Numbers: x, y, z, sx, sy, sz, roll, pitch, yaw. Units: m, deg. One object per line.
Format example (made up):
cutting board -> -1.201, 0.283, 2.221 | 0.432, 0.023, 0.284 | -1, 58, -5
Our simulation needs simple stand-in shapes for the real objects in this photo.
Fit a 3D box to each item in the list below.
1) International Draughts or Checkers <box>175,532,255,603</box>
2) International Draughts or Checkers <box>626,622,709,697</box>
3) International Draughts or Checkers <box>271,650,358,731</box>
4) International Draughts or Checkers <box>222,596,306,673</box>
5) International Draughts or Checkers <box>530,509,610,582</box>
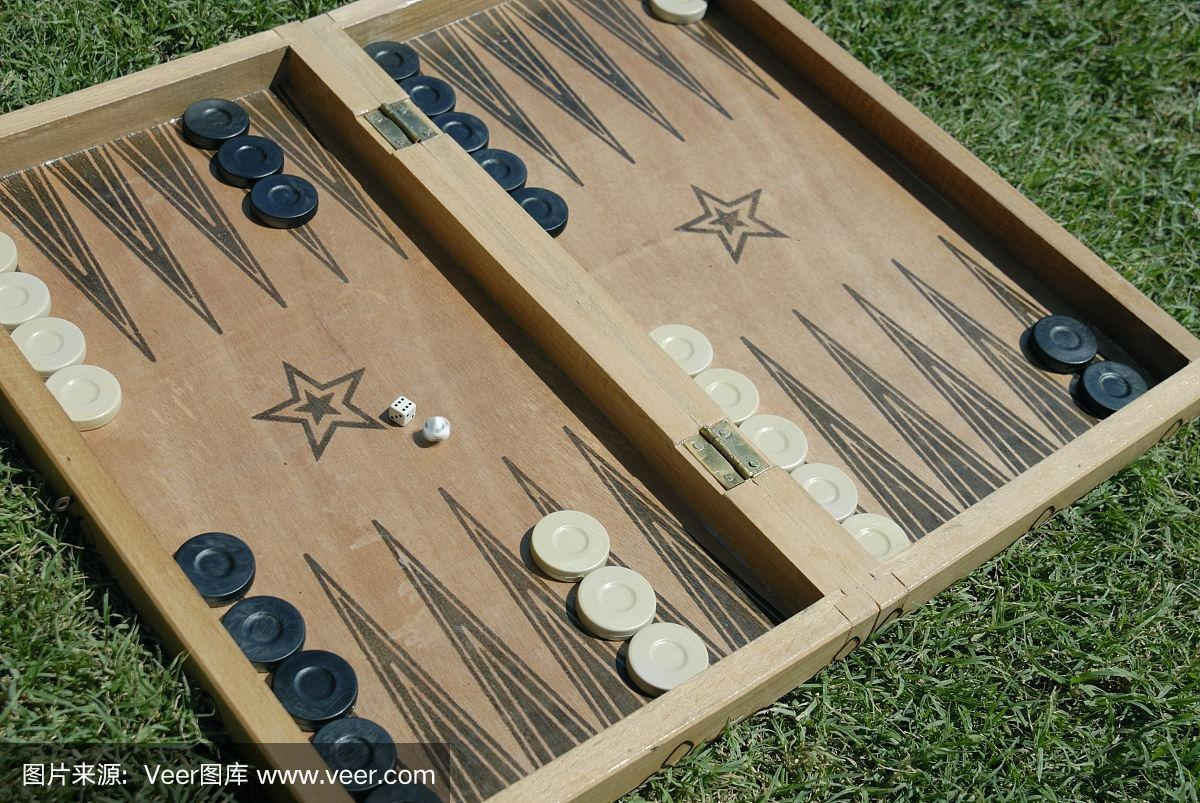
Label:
International Draughts or Checkers -> -0.977, 0.413, 2.986 | 0.159, 0.015, 0.183 | -26, 69, -24
International Draughts or Checkers -> 0.169, 0.657, 3.009 | 0.245, 0.052, 0.188 | 12, 56, -33
International Draughts or Checkers -> -0.702, 0.705, 2.889 | 0.184, 0.034, 0.200 | -28, 70, -24
International Draughts or Checkers -> -0.837, 0.571, 2.938 | 0.164, 0.030, 0.195 | -27, 69, -24
International Draughts or Checkers -> -0.086, 0.383, 3.111 | 0.200, 0.061, 0.192 | 7, 60, -8
